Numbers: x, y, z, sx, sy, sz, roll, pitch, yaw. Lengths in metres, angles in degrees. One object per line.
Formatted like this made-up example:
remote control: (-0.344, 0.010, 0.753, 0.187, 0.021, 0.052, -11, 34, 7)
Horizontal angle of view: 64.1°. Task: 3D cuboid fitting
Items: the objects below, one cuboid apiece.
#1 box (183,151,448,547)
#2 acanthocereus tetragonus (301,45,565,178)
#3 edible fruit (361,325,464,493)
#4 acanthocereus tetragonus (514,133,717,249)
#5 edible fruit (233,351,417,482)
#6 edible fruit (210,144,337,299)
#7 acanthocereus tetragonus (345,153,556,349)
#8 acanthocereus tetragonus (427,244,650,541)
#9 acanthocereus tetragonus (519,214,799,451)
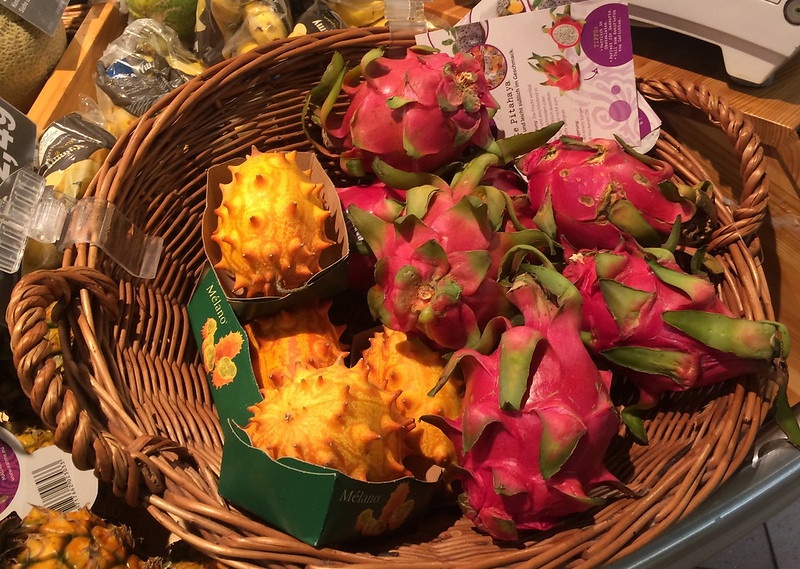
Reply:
box: (-0.153, 0.119, 1.171, 0.354, 0.225, 0.722, 1, 33, -22)
acanthocereus tetragonus: (0.047, -0.304, 1.190, 0.449, 0.200, 0.329, 7, 44, 3)
edible fruit: (0.025, 0.187, 1.145, 0.165, 0.167, 0.258, 108, -42, -83)
acanthocereus tetragonus: (0.370, -0.146, 1.141, 0.332, 0.218, 0.191, 13, -39, 14)
edible fruit: (-0.108, 0.202, 0.987, 0.193, 0.189, 0.180, 29, 27, -8)
edible fruit: (-0.233, -0.103, 1.163, 0.209, 0.248, 0.181, 32, -41, -32)
acanthocereus tetragonus: (0.077, -0.050, 1.034, 0.296, 0.305, 0.143, 17, -17, -11)
acanthocereus tetragonus: (0.198, 0.201, 1.161, 0.372, 0.489, 0.374, 8, -13, 7)
acanthocereus tetragonus: (0.425, 0.110, 1.092, 0.349, 0.279, 0.200, 46, -10, 3)
